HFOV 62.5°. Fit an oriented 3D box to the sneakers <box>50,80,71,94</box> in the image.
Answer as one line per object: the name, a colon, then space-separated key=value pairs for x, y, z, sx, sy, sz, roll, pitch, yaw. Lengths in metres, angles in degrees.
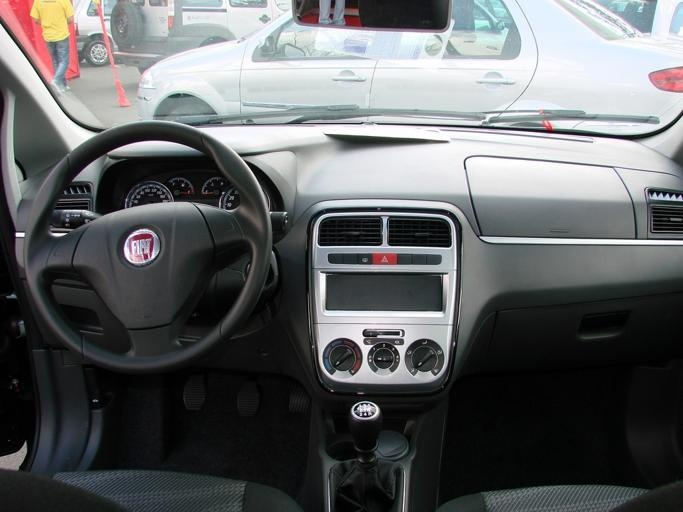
sneakers: x=-1.048 y=-0.634 z=2.091 sx=0.041 sy=0.054 sz=0.129 roll=3 pitch=21 yaw=-7
